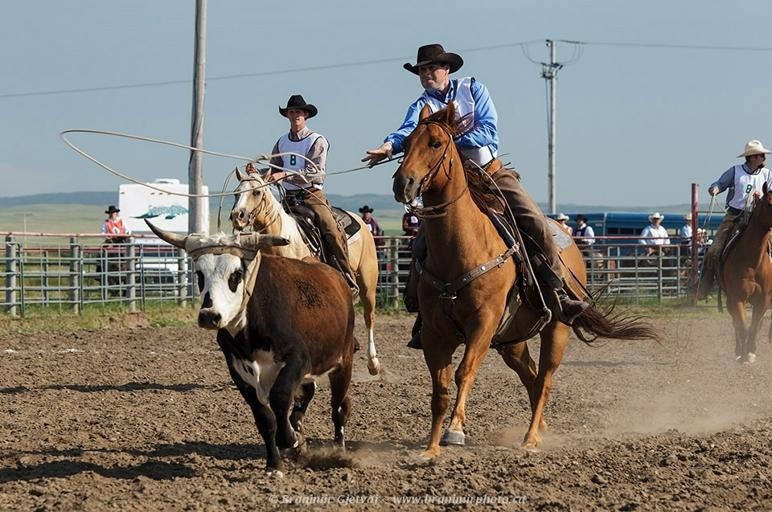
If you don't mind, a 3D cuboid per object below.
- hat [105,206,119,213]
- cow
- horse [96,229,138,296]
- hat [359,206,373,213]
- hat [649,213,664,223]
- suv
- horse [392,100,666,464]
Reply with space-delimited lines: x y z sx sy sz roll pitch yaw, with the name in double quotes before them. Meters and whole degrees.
"hat" -5.647 -1.007 26.871 0.197 0.114 0.280 -2 -4 2
"cow" -1.416 1.163 15.730 2.016 2.897 0.931 -2 3 -42
"horse" -5.062 0.192 24.493 0.710 1.147 1.448 -1 2 -11
"hat" -0.482 -1.085 29.901 0.223 0.076 0.222 -2 6 -20
"hat" 6.556 -0.959 31.661 0.377 0.162 0.411 2 -18 -2
"suv" -6.084 -0.597 34.008 2.226 3.022 4.882 3 2 -7
"horse" 1.283 0.272 16.599 2.803 4.386 0.762 -2 2 -32
